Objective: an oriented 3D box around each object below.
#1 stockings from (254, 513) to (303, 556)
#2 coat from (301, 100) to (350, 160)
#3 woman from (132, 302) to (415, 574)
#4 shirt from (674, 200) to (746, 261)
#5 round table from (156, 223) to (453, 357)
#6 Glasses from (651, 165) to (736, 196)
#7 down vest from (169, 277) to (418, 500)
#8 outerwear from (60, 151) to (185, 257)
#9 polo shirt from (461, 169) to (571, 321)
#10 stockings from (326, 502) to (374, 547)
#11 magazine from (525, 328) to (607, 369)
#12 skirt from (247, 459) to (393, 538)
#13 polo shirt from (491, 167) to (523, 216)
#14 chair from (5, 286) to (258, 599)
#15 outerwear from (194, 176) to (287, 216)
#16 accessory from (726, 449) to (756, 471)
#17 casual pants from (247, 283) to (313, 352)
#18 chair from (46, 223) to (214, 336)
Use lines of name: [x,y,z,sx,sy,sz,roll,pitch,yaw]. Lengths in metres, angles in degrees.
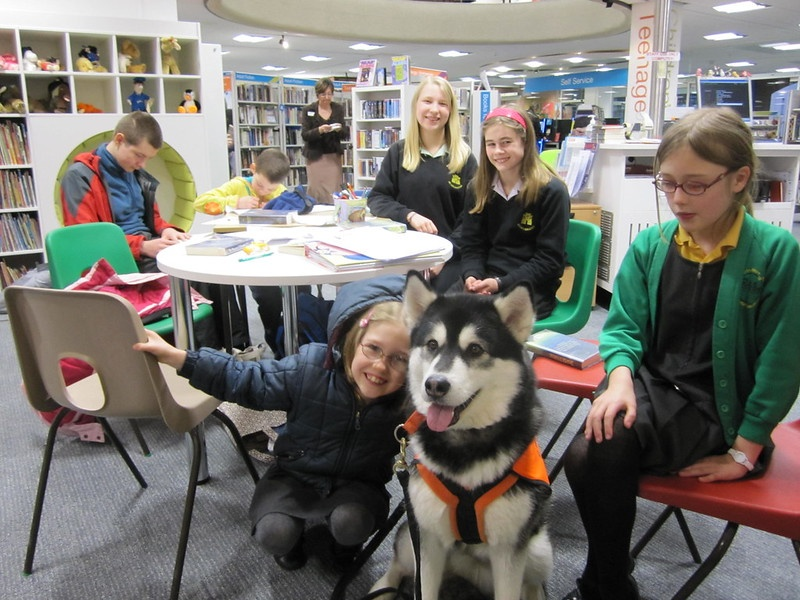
stockings: [-0.442,0.838,2.121,0.173,0.136,0.133,6,3,-13]
coat: [-1.102,-2.371,8.252,0.632,0.799,0.552,-4,18,-8]
woman: [-0.498,0.586,2.286,0.997,0.682,0.454,1,3,-6]
shirt: [1.021,-0.211,1.886,0.138,0.186,0.087,10,0,6]
round table: [-0.400,-0.157,2.505,0.840,0.526,0.835,0,9,0]
Glasses: [0.936,-0.368,1.832,0.193,0.074,0.075,8,20,28]
down vest: [-0.436,0.389,2.341,0.918,0.631,0.354,6,6,-9]
outerwear: [-1.845,-0.569,3.818,0.550,0.740,0.709,-7,3,30]
polo shirt: [0.568,-0.292,3.104,0.606,0.792,0.558,13,22,38]
stockings: [-0.178,0.813,2.105,0.158,0.157,0.116,-8,-11,-14]
magazine: [0.679,0.199,2.359,0.197,0.042,0.192,17,27,37]
skirt: [-0.294,0.747,2.189,0.351,0.106,0.383,4,-4,-3]
polo shirt: [0.571,-0.575,3.038,0.158,0.219,0.085,3,21,23]
chair: [-1.125,0.631,2.381,0.655,1.162,0.812,10,32,8]
outerwear: [-1.241,-0.729,4.120,0.464,0.173,0.569,3,19,15]
accessory: [1.060,0.489,1.784,0.080,0.046,0.075,43,-3,29]
casual pants: [-0.691,0.108,3.309,0.192,0.362,0.771,-7,7,-13]
chair: [-1.602,-0.057,3.064,0.499,0.547,0.448,-11,-22,-17]
